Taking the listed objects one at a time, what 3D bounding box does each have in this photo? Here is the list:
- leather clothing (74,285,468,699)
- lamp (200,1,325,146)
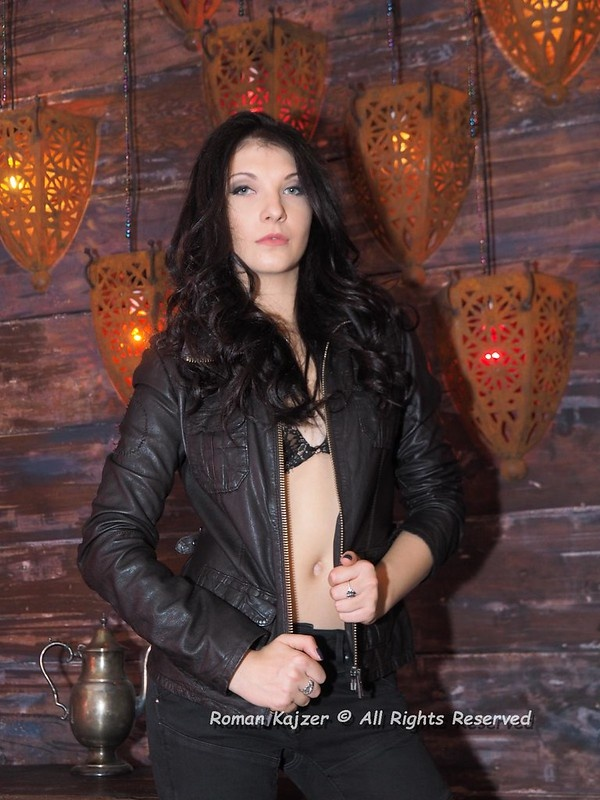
[{"bbox_3d":[-0.011,0.142,1.120,0.568,0.454,0.350,-9,12,-37],"label":"leather clothing"},{"bbox_3d":[-0.024,-0.590,1.529,0.162,0.143,0.133,-15,11,9],"label":"lamp"}]
